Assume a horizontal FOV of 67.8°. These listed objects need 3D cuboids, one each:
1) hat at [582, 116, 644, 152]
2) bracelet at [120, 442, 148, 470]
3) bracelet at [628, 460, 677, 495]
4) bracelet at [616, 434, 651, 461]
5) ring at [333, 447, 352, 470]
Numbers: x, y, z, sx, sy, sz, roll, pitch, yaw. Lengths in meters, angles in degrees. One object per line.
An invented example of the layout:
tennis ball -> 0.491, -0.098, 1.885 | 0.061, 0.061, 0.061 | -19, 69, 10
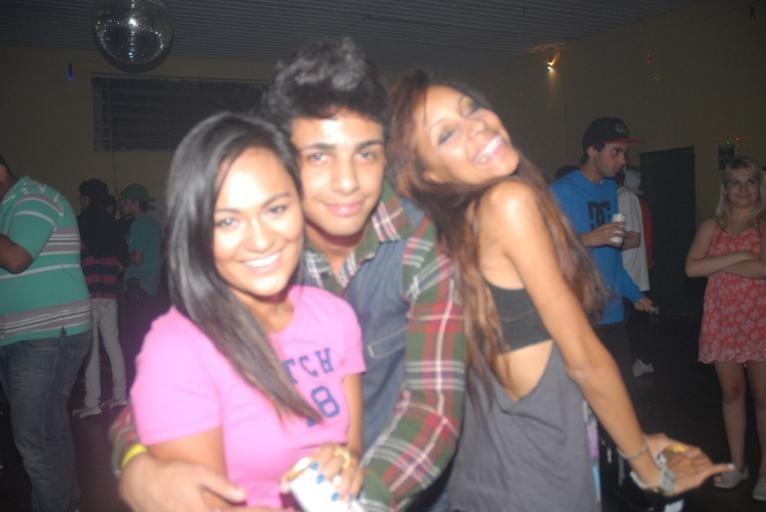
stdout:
hat -> 2.197, -1.173, 5.294 | 0.314, 0.228, 0.451 | -1, -4, 9
bracelet -> -1.088, 0.855, 2.500 | 0.121, 0.121, 0.090 | -11, 30, -30
bracelet -> 1.293, 1.048, 2.720 | 0.170, 0.133, 0.069 | 19, 10, 14
bracelet -> 1.175, 0.904, 2.671 | 0.125, 0.034, 0.119 | -33, 9, -32
ring -> -0.175, 0.892, 2.512 | 0.074, 0.024, 0.058 | 44, -9, 16
